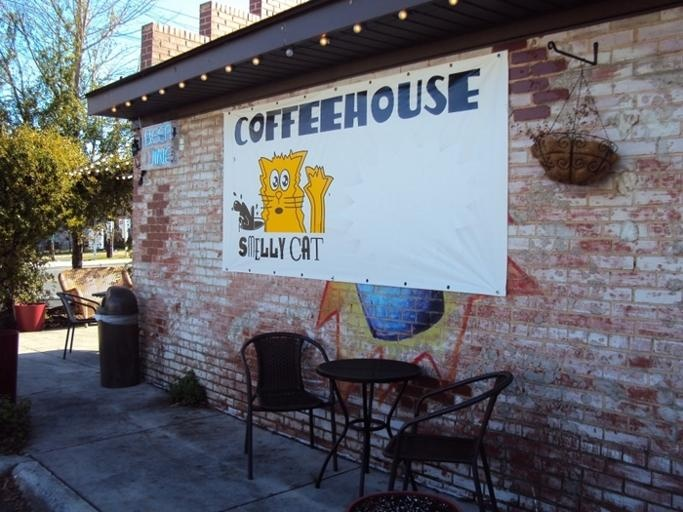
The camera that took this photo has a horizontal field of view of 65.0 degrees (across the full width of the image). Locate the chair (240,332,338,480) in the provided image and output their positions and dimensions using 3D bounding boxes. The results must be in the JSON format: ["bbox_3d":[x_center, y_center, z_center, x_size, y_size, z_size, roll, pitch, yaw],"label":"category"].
[{"bbox_3d":[-0.518,1.284,4.764,0.828,1.191,0.887,2,-7,-30],"label":"chair"}]

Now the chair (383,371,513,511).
[{"bbox_3d":[0.765,1.362,3.825,0.838,1.148,1.060,1,5,18],"label":"chair"}]

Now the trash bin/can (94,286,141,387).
[{"bbox_3d":[-2.916,1.063,7.024,0.501,1.306,0.298,-2,5,-24],"label":"trash bin/can"}]

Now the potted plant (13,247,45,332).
[{"bbox_3d":[-6.202,0.685,10.681,0.579,1.533,0.640,-3,5,-32],"label":"potted plant"}]
